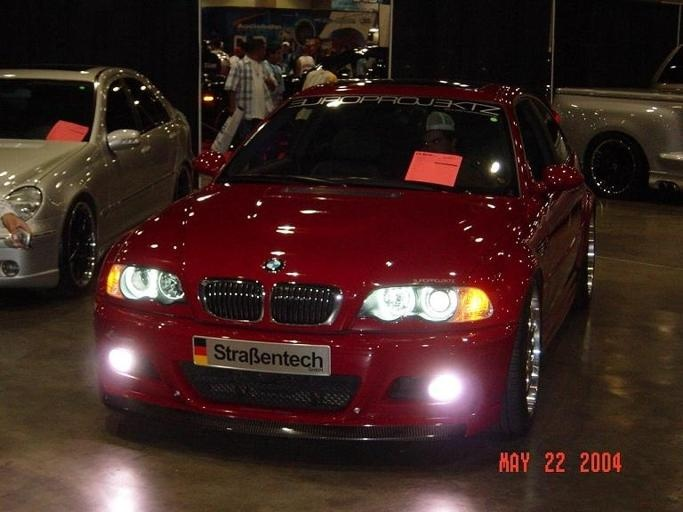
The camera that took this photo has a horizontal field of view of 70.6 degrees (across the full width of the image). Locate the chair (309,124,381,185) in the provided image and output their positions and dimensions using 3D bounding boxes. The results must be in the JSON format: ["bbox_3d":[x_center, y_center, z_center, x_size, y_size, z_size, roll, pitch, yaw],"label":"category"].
[{"bbox_3d":[0.034,-0.674,3.340,0.478,0.515,0.490,6,17,13],"label":"chair"}]
